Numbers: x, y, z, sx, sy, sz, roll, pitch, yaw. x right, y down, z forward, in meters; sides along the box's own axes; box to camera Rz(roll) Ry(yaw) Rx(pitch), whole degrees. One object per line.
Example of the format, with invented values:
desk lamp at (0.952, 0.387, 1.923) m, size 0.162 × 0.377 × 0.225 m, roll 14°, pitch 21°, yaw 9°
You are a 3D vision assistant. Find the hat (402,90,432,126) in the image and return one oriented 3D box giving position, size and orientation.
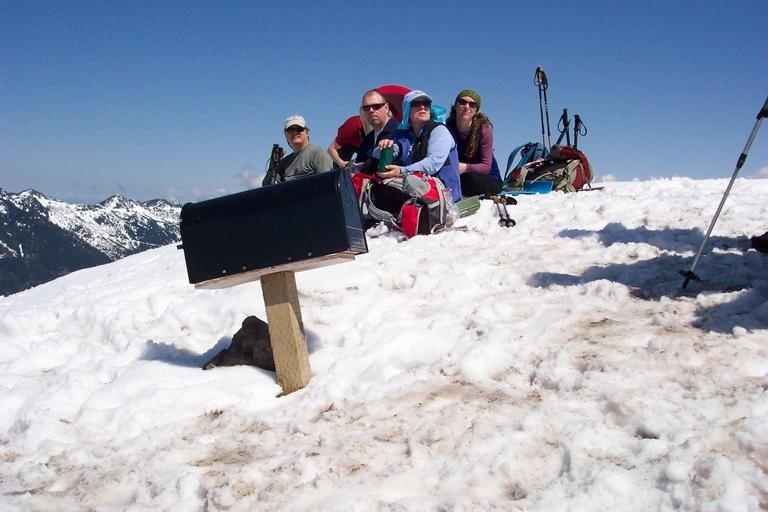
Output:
hat at (0.508, -2.458, 10.018) m, size 0.393 × 0.573 × 1.024 m, roll -6°, pitch 17°, yaw -4°

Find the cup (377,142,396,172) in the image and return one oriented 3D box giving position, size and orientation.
cup at (0.008, -1.537, 9.449) m, size 0.288 × 0.414 × 0.239 m, roll -9°, pitch 17°, yaw -15°

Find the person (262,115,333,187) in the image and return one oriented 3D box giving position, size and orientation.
person at (-1.377, -1.698, 9.474) m, size 1.006 × 1.055 × 1.403 m, roll -7°, pitch 17°, yaw -9°
